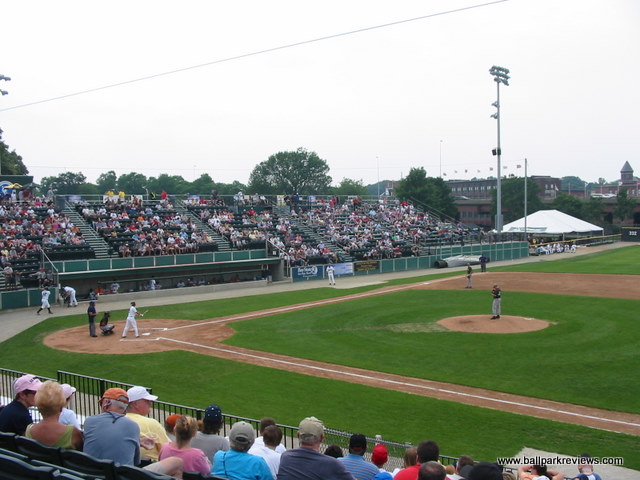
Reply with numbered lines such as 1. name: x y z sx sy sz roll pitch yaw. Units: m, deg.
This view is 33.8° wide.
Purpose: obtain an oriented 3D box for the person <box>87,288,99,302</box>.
1. person: -14.328 3.551 66.972 0.503 0.434 1.335 14 7 -29

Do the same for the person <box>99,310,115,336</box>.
1. person: -11.509 4.573 57.275 0.792 1.372 1.070 -3 6 -20

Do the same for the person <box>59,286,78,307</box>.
1. person: -15.529 3.526 65.590 1.032 1.265 2.174 -2 0 -14
